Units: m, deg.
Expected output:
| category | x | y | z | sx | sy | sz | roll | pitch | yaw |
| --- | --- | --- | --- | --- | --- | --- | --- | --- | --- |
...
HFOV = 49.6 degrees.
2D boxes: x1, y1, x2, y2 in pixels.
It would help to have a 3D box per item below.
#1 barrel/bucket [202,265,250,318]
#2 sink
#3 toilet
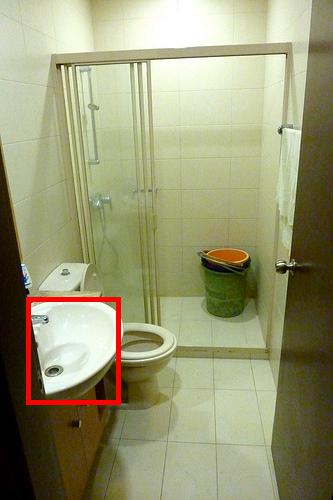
| category | x | y | z | sx | sy | sz | roll | pitch | yaw |
| --- | --- | --- | --- | --- | --- | --- | --- | --- | --- |
| barrel/bucket | 0.421 | 0.270 | 2.686 | 0.297 | 0.382 | 0.336 | -4 | 11 | -12 |
| sink | -0.264 | 0.393 | 1.246 | 0.306 | 0.210 | 0.505 | 3 | 30 | -5 |
| toilet | -0.261 | 0.488 | 1.942 | 0.576 | 0.792 | 0.393 | -1 | 16 | -1 |
